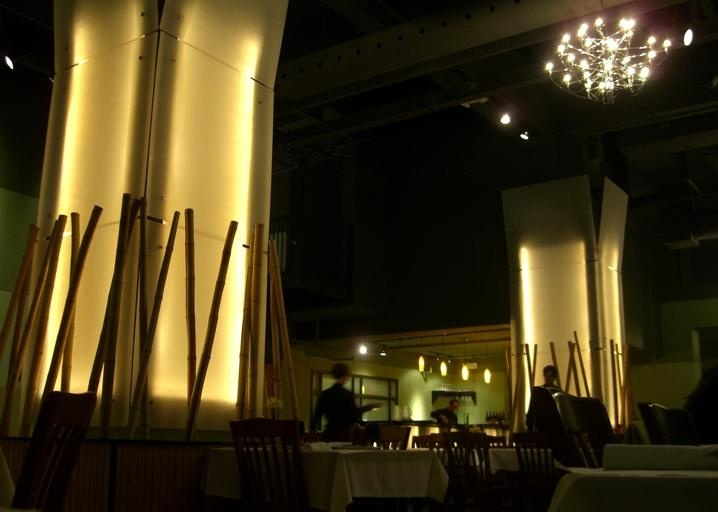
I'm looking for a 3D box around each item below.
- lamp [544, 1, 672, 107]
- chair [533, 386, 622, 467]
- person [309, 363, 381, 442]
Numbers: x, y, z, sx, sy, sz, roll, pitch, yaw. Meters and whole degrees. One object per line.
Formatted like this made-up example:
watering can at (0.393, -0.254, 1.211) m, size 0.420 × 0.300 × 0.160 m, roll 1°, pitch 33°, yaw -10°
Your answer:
lamp at (3.018, -2.235, 8.609) m, size 0.954 × 0.950 × 1.009 m, roll -2°, pitch -2°, yaw 1°
chair at (1.144, 0.978, 4.016) m, size 0.376 × 0.526 × 0.452 m, roll -6°, pitch -31°, yaw -3°
person at (-0.211, 1.506, 7.462) m, size 0.539 × 0.901 × 1.588 m, roll 1°, pitch -17°, yaw 1°
